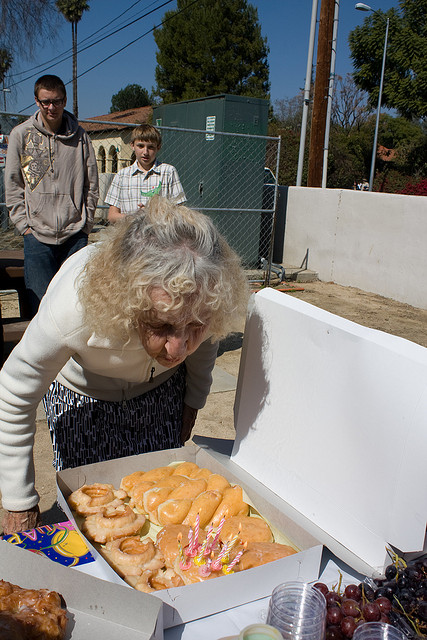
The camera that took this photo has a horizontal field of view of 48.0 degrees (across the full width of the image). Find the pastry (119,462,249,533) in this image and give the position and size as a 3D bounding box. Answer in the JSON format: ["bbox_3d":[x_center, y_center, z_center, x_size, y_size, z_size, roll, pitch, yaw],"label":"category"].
[{"bbox_3d":[-0.084,0.435,1.294,0.286,0.105,0.219,-5,6,-35],"label":"pastry"}]

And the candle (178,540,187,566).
[{"bbox_3d":[-0.064,0.484,1.009,0.017,0.054,0.033,1,13,-5],"label":"candle"}]

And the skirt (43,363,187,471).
[{"bbox_3d":[-0.405,0.298,1.912,0.449,0.401,0.523,-9,14,-44],"label":"skirt"}]

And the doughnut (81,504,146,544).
[{"bbox_3d":[-0.247,0.475,1.181,0.140,0.057,0.115,-4,4,-37],"label":"doughnut"}]

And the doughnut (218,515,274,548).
[{"bbox_3d":[0.082,0.492,1.179,0.101,0.053,0.142,-3,5,-26],"label":"doughnut"}]

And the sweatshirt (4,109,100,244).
[{"bbox_3d":[-1.333,-1.165,3.938,0.743,1.062,0.354,-1,13,-15],"label":"sweatshirt"}]

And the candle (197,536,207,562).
[{"bbox_3d":[-0.022,0.479,1.003,0.013,0.050,0.024,11,16,36],"label":"candle"}]

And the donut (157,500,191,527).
[{"bbox_3d":[-0.100,0.484,1.208,0.083,0.046,0.054,-1,13,-12],"label":"donut"}]

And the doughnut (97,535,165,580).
[{"bbox_3d":[-0.183,0.509,1.052,0.091,0.049,0.093,-1,3,-38],"label":"doughnut"}]

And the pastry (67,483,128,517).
[{"bbox_3d":[-0.303,0.452,1.264,0.120,0.055,0.121,-5,5,-43],"label":"pastry"}]

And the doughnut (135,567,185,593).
[{"bbox_3d":[-0.098,0.517,0.971,0.065,0.028,0.065,9,-4,38],"label":"doughnut"}]

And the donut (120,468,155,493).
[{"bbox_3d":[-0.216,0.454,1.360,0.054,0.018,0.055,-14,14,10],"label":"donut"}]

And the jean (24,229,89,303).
[{"bbox_3d":[-1.407,-0.445,4.180,0.577,0.852,0.505,-7,12,-44],"label":"jean"}]

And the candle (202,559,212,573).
[{"bbox_3d":[-0.013,0.504,0.982,0.011,0.029,0.014,31,-8,-24],"label":"candle"}]

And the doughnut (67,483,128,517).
[{"bbox_3d":[-0.306,0.455,1.265,0.116,0.053,0.117,-5,5,-43],"label":"doughnut"}]
